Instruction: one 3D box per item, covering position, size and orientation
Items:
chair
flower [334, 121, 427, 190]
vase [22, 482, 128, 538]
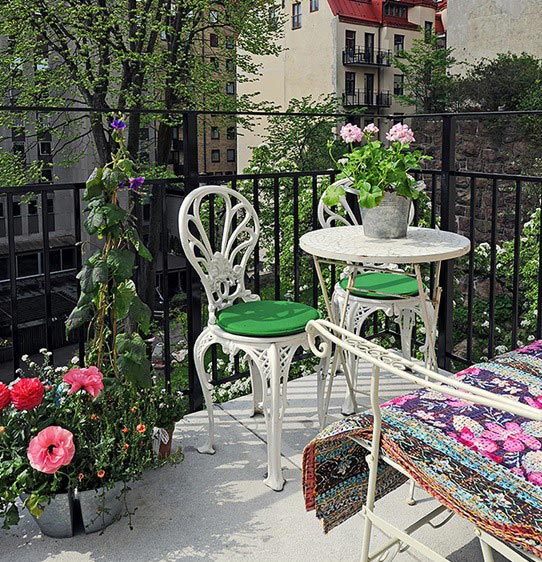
[{"bbox_3d":[0.318,0.061,3.089,1.021,2.034,0.935,4,9,43],"label":"chair"},{"bbox_3d":[0.425,-0.454,2.185,0.307,0.228,0.278,-6,4,-39],"label":"flower"},{"bbox_3d":[-0.599,0.715,1.799,0.212,0.087,0.236,0,0,34],"label":"vase"}]
